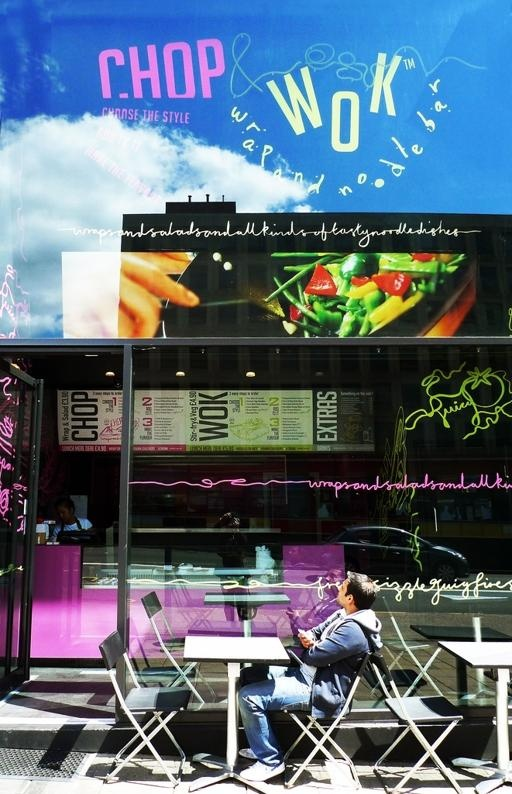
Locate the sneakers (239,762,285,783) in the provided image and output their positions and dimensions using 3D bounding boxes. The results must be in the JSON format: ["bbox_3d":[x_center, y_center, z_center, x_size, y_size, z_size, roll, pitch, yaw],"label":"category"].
[{"bbox_3d":[0.034,2.081,3.643,0.244,0.096,0.091,4,-24,-7],"label":"sneakers"}]

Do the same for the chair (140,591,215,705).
[{"bbox_3d":[-0.533,1.617,4.392,0.624,0.873,0.510,-2,-8,-2],"label":"chair"}]

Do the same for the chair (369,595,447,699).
[{"bbox_3d":[0.932,1.687,4.588,0.561,0.786,0.430,0,-7,-1],"label":"chair"}]

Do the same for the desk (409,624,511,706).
[{"bbox_3d":[1.337,1.705,4.358,0.524,0.489,0.516,1,-13,0],"label":"desk"}]

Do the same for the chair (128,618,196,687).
[{"bbox_3d":[-0.595,1.681,4.300,0.335,0.470,0.261,-2,-7,4],"label":"chair"}]

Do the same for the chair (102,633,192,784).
[{"bbox_3d":[-0.632,1.772,3.871,0.481,0.818,0.774,-1,-6,-7],"label":"chair"}]
